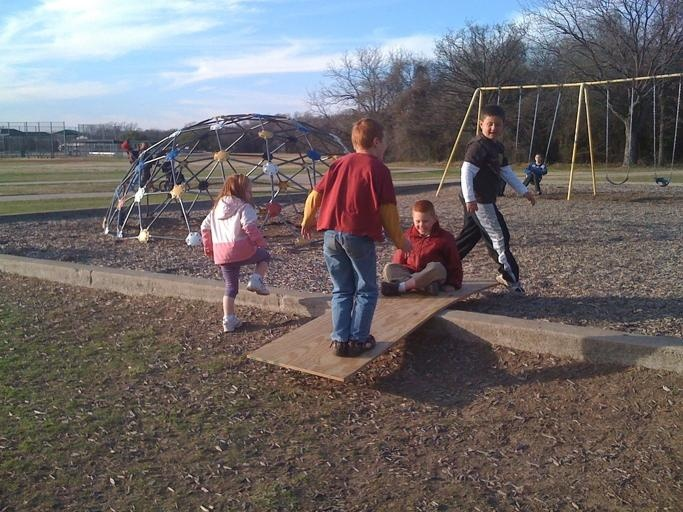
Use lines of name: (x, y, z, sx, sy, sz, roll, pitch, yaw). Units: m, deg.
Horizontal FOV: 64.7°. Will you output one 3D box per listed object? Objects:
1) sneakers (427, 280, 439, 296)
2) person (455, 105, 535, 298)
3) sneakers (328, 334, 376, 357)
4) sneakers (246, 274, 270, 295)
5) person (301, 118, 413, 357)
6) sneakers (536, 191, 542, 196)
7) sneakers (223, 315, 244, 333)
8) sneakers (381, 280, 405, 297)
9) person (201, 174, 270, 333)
sneakers: (0.841, 0.288, 5.019, 0.080, 0.128, 0.132, 1, 6, 5)
person: (1.597, -0.631, 5.714, 0.750, 1.887, 0.692, 1, 11, 12)
sneakers: (0.078, 0.690, 4.113, 0.286, 0.117, 0.143, -12, 16, -38)
sneakers: (-0.799, 0.275, 5.249, 0.114, 0.156, 0.334, -3, -7, 19)
person: (0.082, -0.165, 4.178, 0.780, 1.779, 0.539, 5, 13, 32)
sneakers: (5.521, -1.804, 15.174, 0.208, 0.112, 0.118, -4, 17, -17)
sneakers: (-0.983, 0.604, 4.988, 0.098, 0.123, 0.205, 5, 19, 21)
sneakers: (0.484, 0.302, 5.162, 0.189, 0.082, 0.132, -1, 6, -1)
person: (-0.980, -0.075, 5.148, 0.588, 1.420, 0.612, -5, 11, -16)
